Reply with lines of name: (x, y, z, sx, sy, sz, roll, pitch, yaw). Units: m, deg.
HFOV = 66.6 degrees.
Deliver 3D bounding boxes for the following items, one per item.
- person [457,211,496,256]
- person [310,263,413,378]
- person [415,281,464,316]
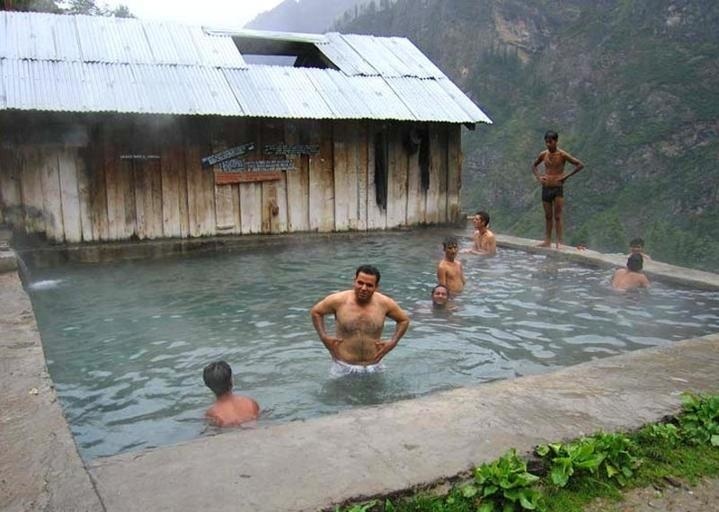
person: (2.524, -0.474, 11.734, 0.672, 0.917, 1.471, -1, 6, 11)
person: (0.017, 0.902, 7.187, 1.241, 1.603, 0.581, 0, 1, -13)
person: (1.239, 0.682, 8.583, 0.749, 0.414, 0.879, -1, 5, 11)
